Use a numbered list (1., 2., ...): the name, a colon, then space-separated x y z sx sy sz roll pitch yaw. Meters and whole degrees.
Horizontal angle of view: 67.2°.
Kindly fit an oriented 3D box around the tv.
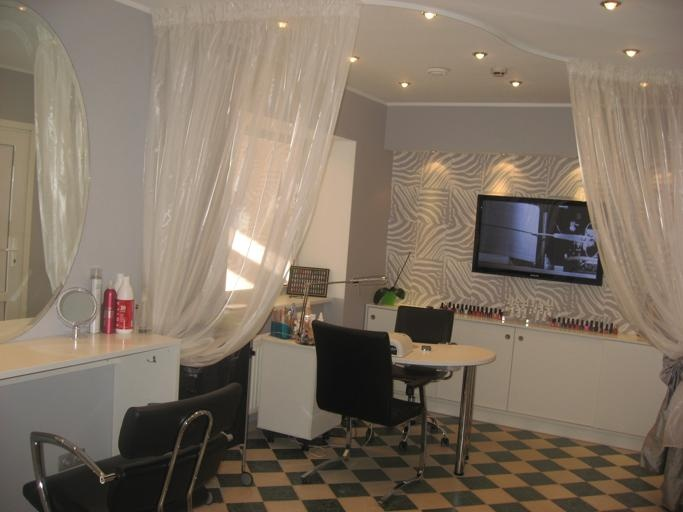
1. tv: 2.016 -0.175 5.182 0.877 0.608 0.033 4 0 17

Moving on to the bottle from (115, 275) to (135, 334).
1. bottle: -1.431 0.320 3.412 0.111 0.375 0.175 0 8 -25

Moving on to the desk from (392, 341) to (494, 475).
1. desk: 0.883 1.312 4.352 0.507 0.708 0.975 -1 3 -32
